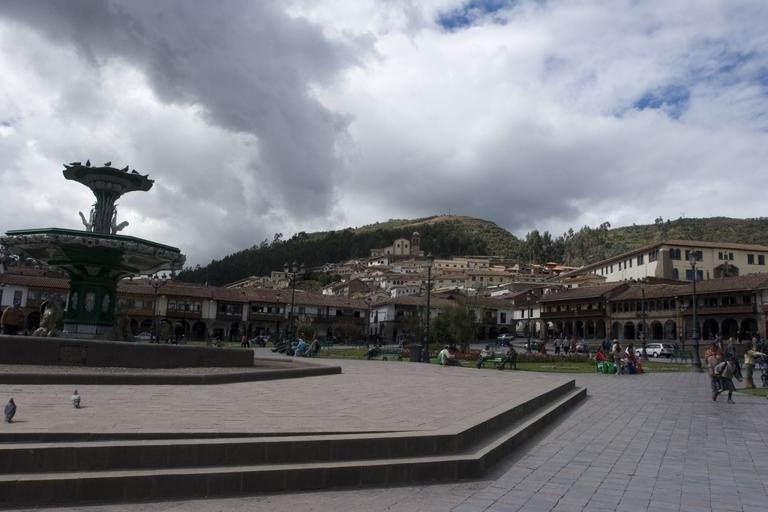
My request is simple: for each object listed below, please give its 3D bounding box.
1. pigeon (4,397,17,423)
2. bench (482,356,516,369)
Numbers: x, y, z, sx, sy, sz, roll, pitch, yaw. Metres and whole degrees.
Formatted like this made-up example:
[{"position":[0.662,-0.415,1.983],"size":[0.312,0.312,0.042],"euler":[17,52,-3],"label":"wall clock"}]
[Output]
[{"position":[-6.526,2.693,9.884],"size":[0.161,0.401,0.729],"euler":[7,-12,-33],"label":"pigeon"},{"position":[6.254,5.854,30.971],"size":[0.956,0.334,1.389],"euler":[0,-4,-14],"label":"bench"}]
